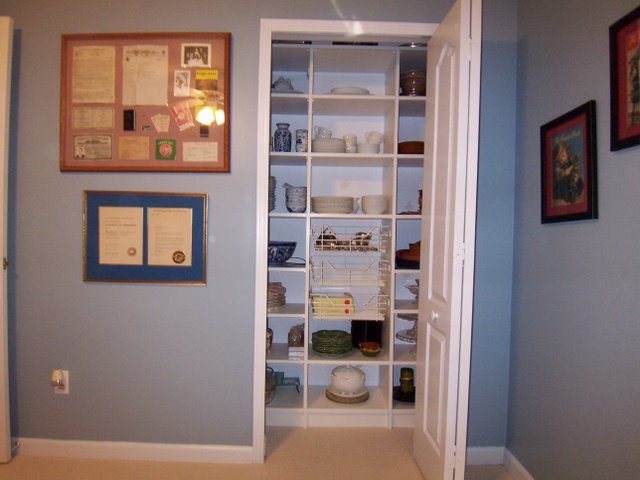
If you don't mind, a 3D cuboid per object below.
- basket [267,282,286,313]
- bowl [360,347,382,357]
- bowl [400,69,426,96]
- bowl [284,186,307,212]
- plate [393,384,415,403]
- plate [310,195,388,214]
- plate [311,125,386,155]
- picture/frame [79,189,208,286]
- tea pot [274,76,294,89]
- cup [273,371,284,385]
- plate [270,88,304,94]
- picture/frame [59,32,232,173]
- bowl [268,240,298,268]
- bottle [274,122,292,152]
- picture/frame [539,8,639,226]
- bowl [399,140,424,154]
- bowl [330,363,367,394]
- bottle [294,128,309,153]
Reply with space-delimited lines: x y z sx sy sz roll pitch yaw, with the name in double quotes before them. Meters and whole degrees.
"basket" -0.315 0.409 4.158 0.156 0.170 0.165 1 -1 -7
"bowl" 0.389 0.809 4.159 0.169 0.065 0.098 0 3 -22
"bowl" 0.659 -1.112 4.063 0.222 0.180 0.110 2 3 28
"bowl" -0.167 -0.289 4.053 0.162 0.192 0.164 0 1 0
"plate" 0.614 1.114 4.202 0.152 0.100 0.193 1 2 7
"plate" 0.223 -0.251 4.075 0.380 0.117 0.220 2 3 -1
"plate" 0.197 -0.679 4.099 0.381 0.164 0.240 -1 3 -11
"picture/frame" -1.101 -0.039 3.692 0.556 0.454 0.026 1 1 1
"tea pot" -0.266 -1.148 4.169 0.129 0.067 0.177 -1 16 -3
"cup" -0.311 1.051 4.369 0.072 0.109 0.085 0 -7 -5
"plate" -0.231 -1.038 4.006 0.213 0.039 0.068 1 2 -1
"picture/frame" -1.073 -0.914 3.662 0.808 0.683 0.040 1 4 3
"bowl" -0.275 0.104 4.123 0.165 0.117 0.173 0 -1 0
"bottle" -0.268 -0.731 4.091 0.126 0.220 0.147 1 2 -9
"picture/frame" 1.481 -0.645 3.192 0.085 1.103 0.634 0 2 -20
"bowl" 0.641 -0.654 4.044 0.176 0.101 0.129 1 2 7
"bowl" 0.200 1.002 4.186 0.187 0.158 0.197 1 -4 0
"bottle" -0.130 -0.708 4.089 0.086 0.159 0.043 1 2 11
